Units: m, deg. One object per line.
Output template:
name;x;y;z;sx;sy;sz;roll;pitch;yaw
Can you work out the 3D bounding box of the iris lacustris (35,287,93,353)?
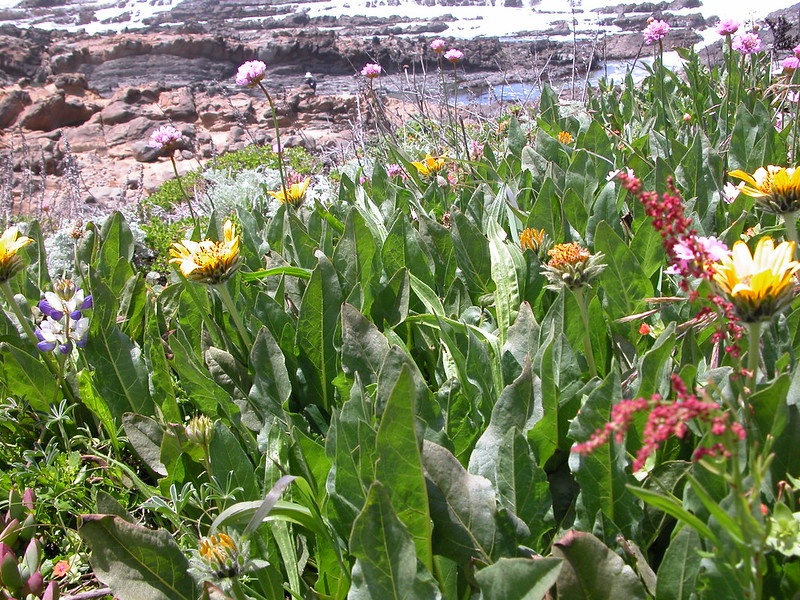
iris lacustris;-0.725;0.047;1.450;0.086;0.161;0.104;5;47;-6
